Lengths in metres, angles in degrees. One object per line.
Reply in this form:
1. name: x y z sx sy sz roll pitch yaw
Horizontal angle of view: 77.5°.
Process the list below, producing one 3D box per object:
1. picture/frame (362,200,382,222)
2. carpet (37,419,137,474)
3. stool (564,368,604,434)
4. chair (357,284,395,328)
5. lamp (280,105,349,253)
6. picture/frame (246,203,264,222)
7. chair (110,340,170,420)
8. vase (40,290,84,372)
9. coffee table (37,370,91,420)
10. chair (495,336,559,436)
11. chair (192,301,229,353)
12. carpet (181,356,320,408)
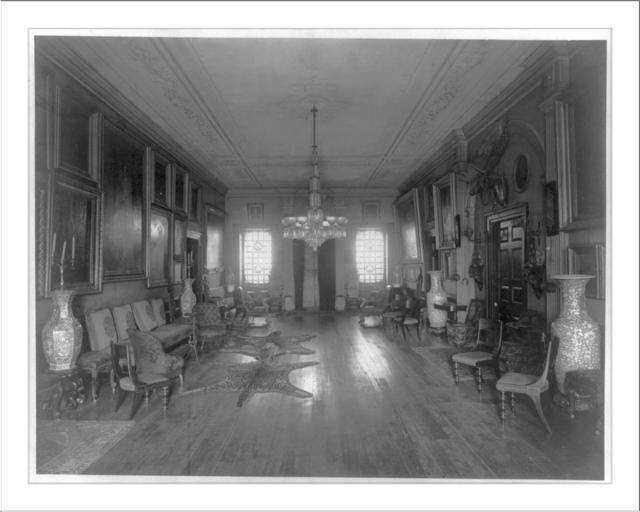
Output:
1. picture/frame: 1.624 -1.483 12.698 0.555 0.727 0.093 0 5 -2
2. carpet: -2.376 1.825 3.850 0.917 0.075 0.802 0 3 6
3. stool: 2.548 1.349 3.869 0.346 0.583 0.185 2 9 21
4. chair: 1.482 1.310 10.513 0.855 1.273 0.846 1 -7 -7
5. lamp: -0.107 -1.518 8.425 1.216 2.886 1.251 0 -2 -4
6. picture/frame: -2.023 -1.405 12.475 0.469 0.588 0.037 1 9 0
7. chair: -2.084 1.358 4.633 0.553 0.856 0.997 -3 5 -34
8. vase: -2.723 0.794 4.259 0.345 0.851 0.214 -4 6 -39
9. coffee table: -2.759 1.457 4.339 0.369 0.227 0.553 3 6 -3
10. chair: 2.185 1.264 4.268 0.529 0.947 0.739 2 5 29
11. chair: -1.994 1.256 7.169 0.674 1.107 0.741 0 -1 -25
12. carpet: -0.896 1.694 5.463 1.613 0.064 1.768 0 3 6
